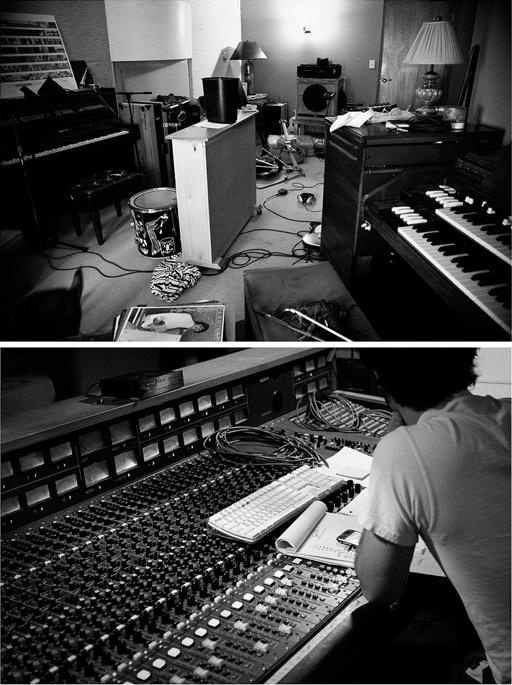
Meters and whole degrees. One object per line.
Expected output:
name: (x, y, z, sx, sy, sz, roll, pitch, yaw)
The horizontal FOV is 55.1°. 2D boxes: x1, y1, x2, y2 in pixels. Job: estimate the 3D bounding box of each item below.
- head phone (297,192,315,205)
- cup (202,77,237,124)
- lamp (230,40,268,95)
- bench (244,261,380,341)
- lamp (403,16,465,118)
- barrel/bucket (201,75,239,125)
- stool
head phone: (0.152, -0.461, 1.569, 0.056, 0.038, 0.092, -4, 14, -27)
cup: (-0.099, -0.653, 1.314, 0.097, 0.128, 0.096, 0, 14, 0)
lamp: (-0.008, -0.585, 1.046, 0.062, 0.092, 0.069, -12, 19, -23)
bench: (0.118, -0.107, 1.209, 0.293, 0.166, 0.363, 2, 12, -3)
lamp: (0.359, -0.562, 1.003, 0.094, 0.178, 0.107, -1, 26, -2)
barrel/bucket: (-0.095, -0.651, 1.307, 0.100, 0.133, 0.101, 0, 15, 0)
stool: (-0.479, -0.424, 1.529, 0.106, 0.149, 0.213, 9, 33, 18)
